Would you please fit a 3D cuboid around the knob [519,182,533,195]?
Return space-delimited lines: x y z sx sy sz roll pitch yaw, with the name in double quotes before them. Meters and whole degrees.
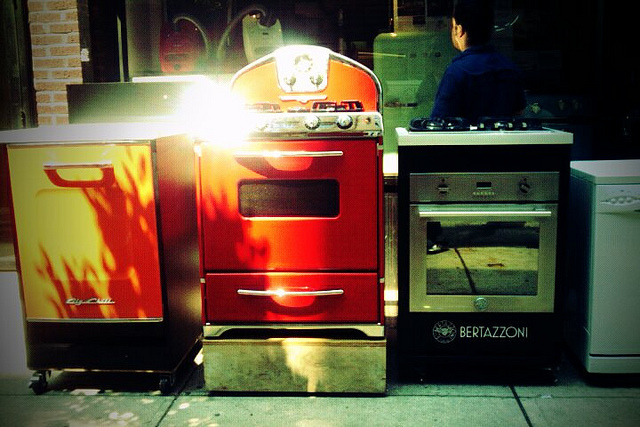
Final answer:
"knob" 1.205 -0.154 3.515 0.078 0.070 0.018 -1 3 4

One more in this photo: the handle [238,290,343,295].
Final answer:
"handle" -0.164 0.453 3.481 0.601 0.029 0.030 -1 13 3

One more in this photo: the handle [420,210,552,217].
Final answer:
"handle" 0.976 0.005 3.506 0.760 0.048 0.040 -1 13 0
